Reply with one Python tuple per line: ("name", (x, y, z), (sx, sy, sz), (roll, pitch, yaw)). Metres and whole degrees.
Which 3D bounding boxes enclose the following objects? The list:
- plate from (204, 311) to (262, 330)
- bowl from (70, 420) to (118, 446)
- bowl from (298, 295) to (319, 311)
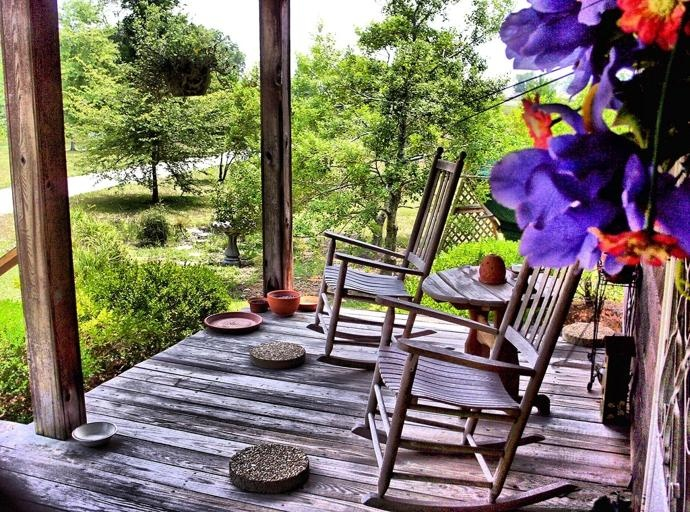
("plate", (-0.757, 0.436, 3.838), (0.373, 0.058, 0.356), (-3, 13, -18))
("bowl", (-1.062, 0.750, 2.401), (0.169, 0.059, 0.160), (1, 13, 0))
("bowl", (-0.303, 0.351, 4.275), (0.124, 0.045, 0.124), (-2, 11, 0))
